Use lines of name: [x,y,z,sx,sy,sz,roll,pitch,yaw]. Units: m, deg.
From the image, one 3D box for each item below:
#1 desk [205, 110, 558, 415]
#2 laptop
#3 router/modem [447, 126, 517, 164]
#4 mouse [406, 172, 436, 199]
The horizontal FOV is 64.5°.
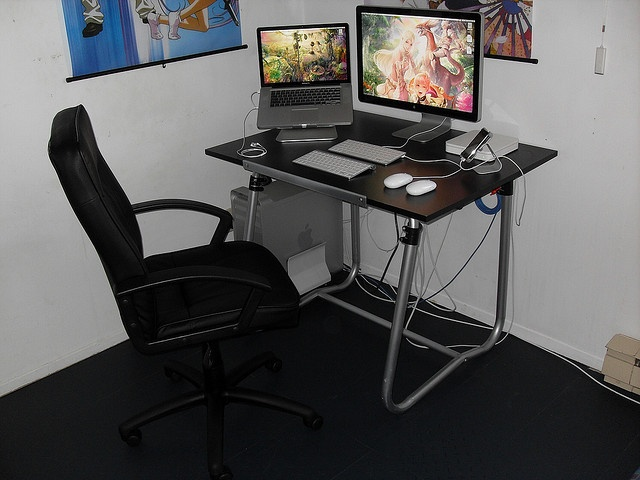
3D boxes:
desk: [0.353,0.278,2.950,1.713,1.450,1.321,22,35,36]
laptop: [-0.076,-0.736,2.745,0.586,0.455,0.527,-3,54,0]
router/modem: [0.734,-0.441,2.294,0.267,0.102,0.286,17,31,36]
mouse: [0.410,-0.220,2.008,0.108,0.037,0.070,-28,44,-33]
